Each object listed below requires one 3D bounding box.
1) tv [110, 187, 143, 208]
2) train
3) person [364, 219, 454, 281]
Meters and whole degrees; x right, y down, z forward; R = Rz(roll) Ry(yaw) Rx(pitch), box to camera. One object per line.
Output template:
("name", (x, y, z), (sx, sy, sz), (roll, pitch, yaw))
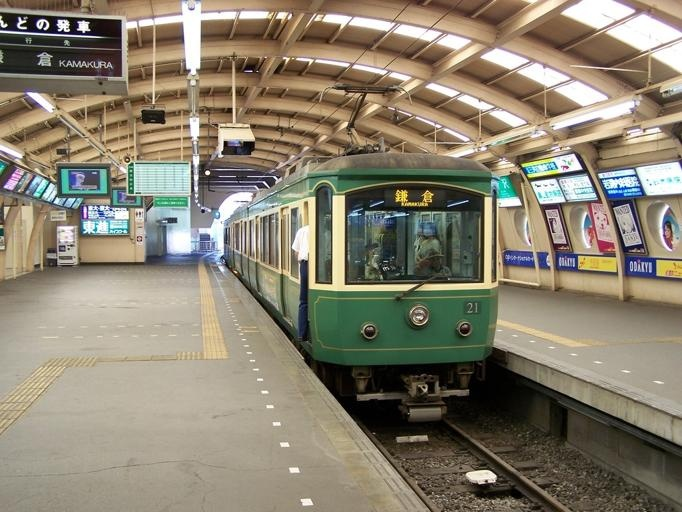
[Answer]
("tv", (-14.738, -4.119, 30.293), (1.741, 1.421, 1.595), (0, 0, -22))
("train", (0.234, 0.507, 7.632), (2.396, 3.702, 3.937), (0, 0, -27))
("person", (0.963, -0.002, 6.496), (1.746, 0.920, 0.833), (1, -3, -4))
